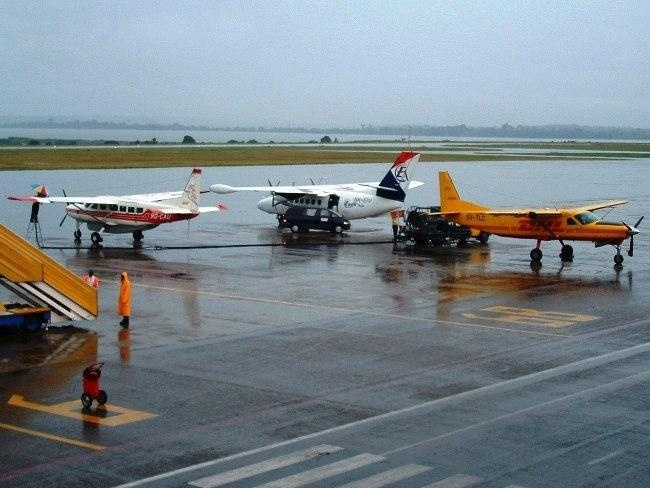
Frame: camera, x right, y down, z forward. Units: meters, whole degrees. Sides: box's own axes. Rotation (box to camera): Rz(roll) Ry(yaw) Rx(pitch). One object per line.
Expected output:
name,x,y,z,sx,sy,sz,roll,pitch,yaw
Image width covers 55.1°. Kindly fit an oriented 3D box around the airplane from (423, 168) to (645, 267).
airplane,13.849,-1.534,41.214,5.657,4.890,11.721,-8,12,-37
